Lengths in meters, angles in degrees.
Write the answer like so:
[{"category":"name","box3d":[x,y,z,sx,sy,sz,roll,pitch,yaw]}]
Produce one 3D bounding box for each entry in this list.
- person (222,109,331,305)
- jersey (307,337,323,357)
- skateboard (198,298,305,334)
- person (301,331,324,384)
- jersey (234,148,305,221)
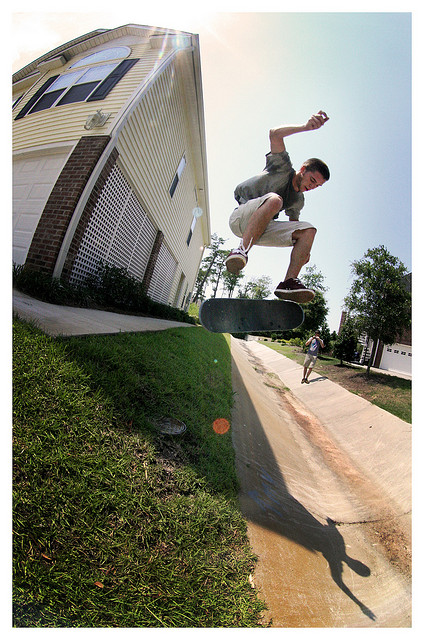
[{"category":"person","box3d":[0.600,-1.025,3.230,0.850,1.727,1.166,11,-29,15]},{"category":"jersey","box3d":[2.640,0.759,9.265,0.279,0.468,0.351,0,7,17]},{"category":"skateboard","box3d":[0.294,-0.029,3.002,1.085,0.367,0.178,0,12,-19]},{"category":"person","box3d":[2.710,0.956,9.697,0.530,1.392,1.164,0,7,16]},{"category":"jersey","box3d":[0.530,-1.234,3.323,0.641,0.562,0.453,-1,7,4]}]
